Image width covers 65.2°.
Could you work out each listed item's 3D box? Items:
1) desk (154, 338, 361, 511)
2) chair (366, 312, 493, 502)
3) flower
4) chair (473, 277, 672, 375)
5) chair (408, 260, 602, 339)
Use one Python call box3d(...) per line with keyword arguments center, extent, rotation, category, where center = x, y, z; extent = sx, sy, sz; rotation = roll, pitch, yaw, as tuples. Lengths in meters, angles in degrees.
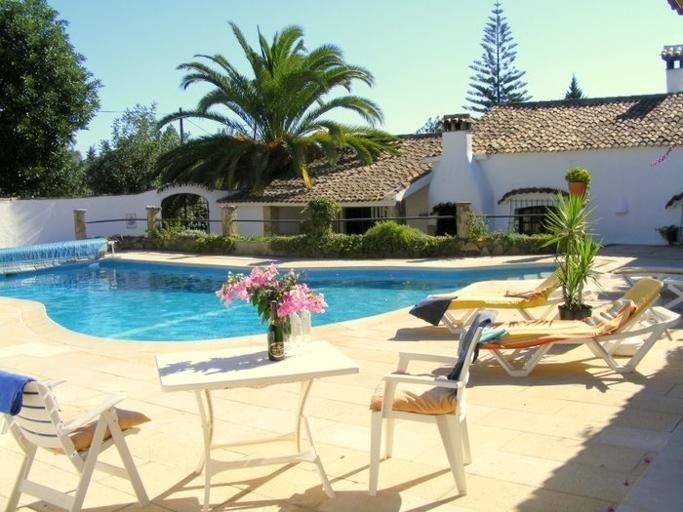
box3d(center=(-0.735, 1.084, 4.453), extent=(1.986, 1.433, 1.044), rotation=(-4, 6, -21), category="desk")
box3d(center=(0.747, 1.153, 4.479), extent=(0.909, 1.309, 1.141), rotation=(2, 4, 19), category="chair")
box3d(center=(-0.665, 0.356, 4.896), extent=(0.863, 0.499, 0.679), rotation=(12, 15, -4), category="flower")
box3d(center=(3.024, 0.989, 6.782), extent=(2.310, 0.962, 1.270), rotation=(-2, 2, 9), category="chair")
box3d(center=(2.591, 0.889, 8.796), extent=(2.665, 0.985, 1.597), rotation=(-1, 1, 12), category="chair")
